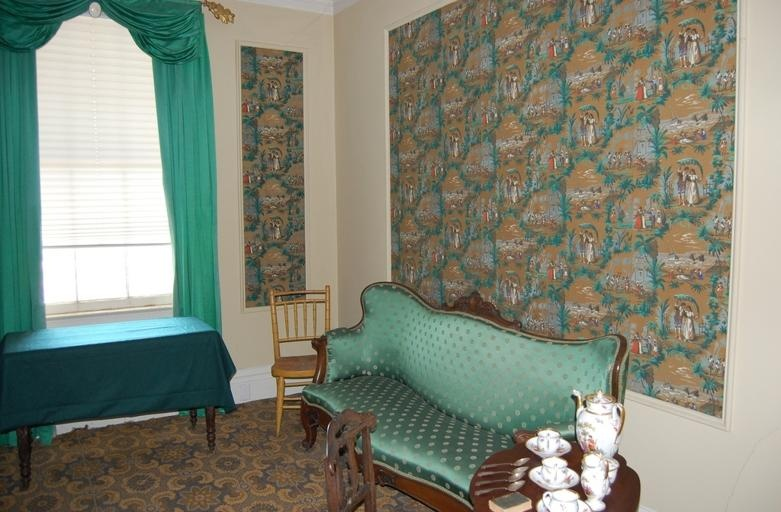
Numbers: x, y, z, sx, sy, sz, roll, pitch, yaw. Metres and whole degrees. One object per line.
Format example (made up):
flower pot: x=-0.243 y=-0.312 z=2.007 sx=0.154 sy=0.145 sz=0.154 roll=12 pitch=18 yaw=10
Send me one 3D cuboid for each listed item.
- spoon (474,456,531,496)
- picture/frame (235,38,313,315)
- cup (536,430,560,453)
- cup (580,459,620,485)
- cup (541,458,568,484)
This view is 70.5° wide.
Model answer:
spoon: x=0.594 y=1.186 z=2.944 sx=0.255 sy=0.038 sz=0.150 roll=-14 pitch=32 yaw=26
picture/frame: x=-1.165 y=-0.775 z=5.514 sx=0.702 sy=2.515 sz=0.564 roll=-3 pitch=15 yaw=-13
cup: x=0.872 y=1.023 z=3.049 sx=0.109 sy=0.084 sz=0.115 roll=1 pitch=7 yaw=0
cup: x=1.110 y=1.107 z=2.887 sx=0.150 sy=0.143 sz=0.186 roll=-1 pitch=9 yaw=6
cup: x=0.842 y=1.099 z=2.837 sx=0.114 sy=0.088 sz=0.122 roll=2 pitch=5 yaw=0
